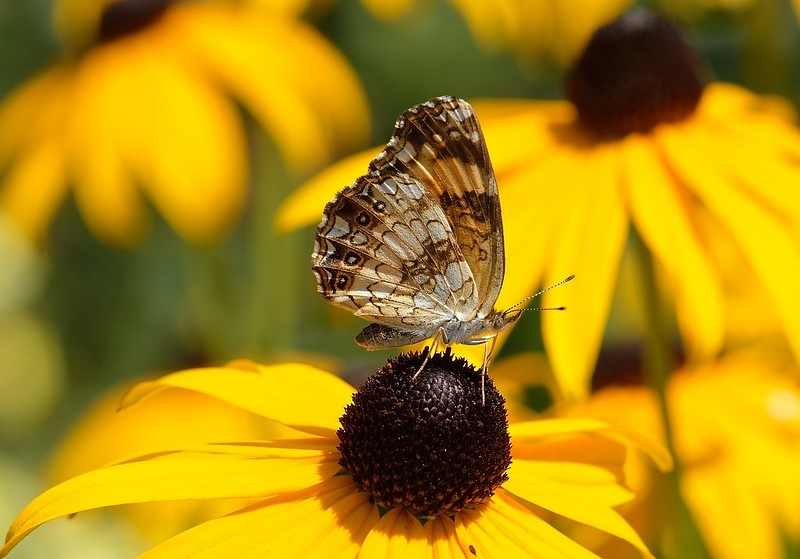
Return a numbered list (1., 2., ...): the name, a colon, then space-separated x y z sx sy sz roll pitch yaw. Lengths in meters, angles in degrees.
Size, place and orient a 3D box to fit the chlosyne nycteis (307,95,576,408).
1. chlosyne nycteis: 0.059 -0.063 1.375 0.328 0.457 0.328 6 24 -7
